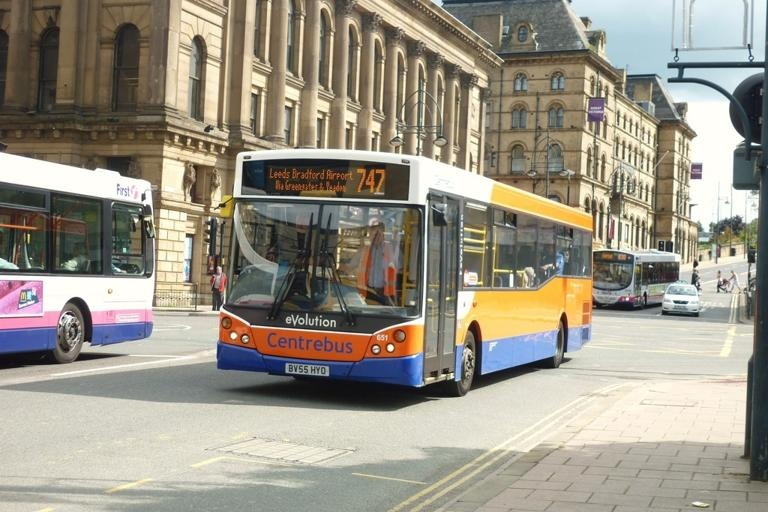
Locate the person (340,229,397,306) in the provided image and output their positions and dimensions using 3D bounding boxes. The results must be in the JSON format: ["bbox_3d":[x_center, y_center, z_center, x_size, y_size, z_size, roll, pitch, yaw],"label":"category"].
[{"bbox_3d":[-0.246,0.204,16.747,1.051,1.921,0.672,-1,-10,5],"label":"person"}]

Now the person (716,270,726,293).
[{"bbox_3d":[33.448,2.563,96.774,1.153,1.992,0.729,-2,27,8],"label":"person"}]
